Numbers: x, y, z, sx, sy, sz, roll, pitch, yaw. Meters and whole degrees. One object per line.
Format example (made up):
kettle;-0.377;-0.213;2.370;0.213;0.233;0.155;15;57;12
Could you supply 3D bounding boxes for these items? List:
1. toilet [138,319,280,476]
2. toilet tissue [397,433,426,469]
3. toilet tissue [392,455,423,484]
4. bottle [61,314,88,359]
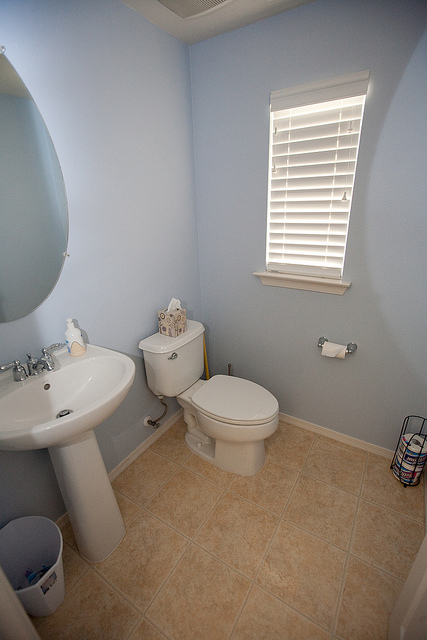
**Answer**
toilet;0.044;0.251;2.309;0.773;0.894;0.499;16;33;29
toilet tissue;0.883;0.581;1.917;0.108;0.141;0.111;-27;30;-27
toilet tissue;0.881;0.672;1.943;0.090;0.118;0.089;-31;26;-37
bottle;-0.540;0.055;1.637;0.051;0.163;0.061;-11;33;-15
